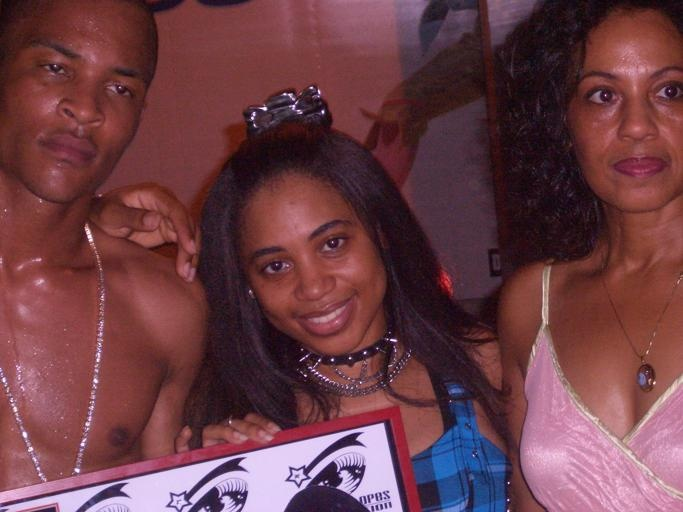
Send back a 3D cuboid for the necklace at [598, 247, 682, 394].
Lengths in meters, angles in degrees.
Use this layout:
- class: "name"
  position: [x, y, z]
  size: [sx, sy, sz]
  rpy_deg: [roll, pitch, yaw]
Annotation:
- class: "necklace"
  position: [1.005, 0.194, 2.497]
  size: [0.252, 0.473, 0.194]
  rpy_deg: [-17, -3, 26]
